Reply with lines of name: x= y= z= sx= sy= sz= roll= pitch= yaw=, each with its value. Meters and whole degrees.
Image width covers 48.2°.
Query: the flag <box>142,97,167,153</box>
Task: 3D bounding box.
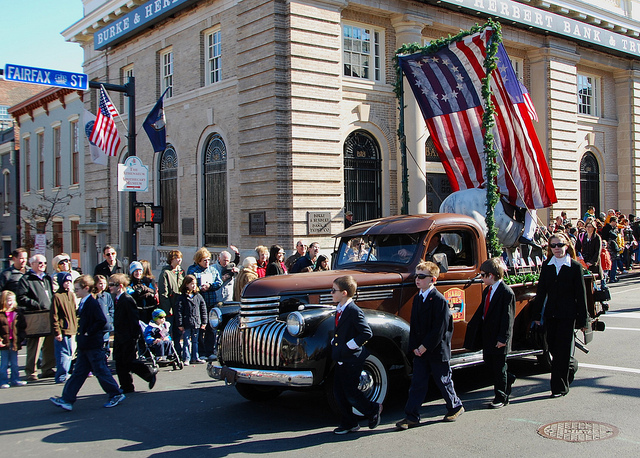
flag: x=-5.131 y=-3.301 z=22.396 sx=0.706 sy=1.902 sz=0.188 roll=-15 pitch=44 yaw=-24

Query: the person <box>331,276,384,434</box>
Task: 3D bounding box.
person: x=0.588 y=2.119 z=12.173 sx=0.754 sy=2.572 sz=0.552 roll=-2 pitch=10 yaw=0

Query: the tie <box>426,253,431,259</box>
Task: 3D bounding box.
tie: x=2.066 y=0.500 z=13.721 sx=0.104 sy=0.107 sz=0.026 roll=-3 pitch=4 yaw=-31

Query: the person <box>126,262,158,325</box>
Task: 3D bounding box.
person: x=-3.882 y=1.590 z=15.729 sx=0.612 sy=1.785 sz=0.570 roll=-10 pitch=7 yaw=-19

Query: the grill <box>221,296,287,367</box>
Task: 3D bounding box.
grill: x=-1.159 y=1.856 z=12.979 sx=1.355 sy=1.261 sz=0.540 roll=5 pitch=12 yaw=32

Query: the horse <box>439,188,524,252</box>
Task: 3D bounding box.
horse: x=3.426 y=-0.305 z=15.355 sx=2.622 sy=1.574 sz=0.890 roll=-5 pitch=7 yaw=-34

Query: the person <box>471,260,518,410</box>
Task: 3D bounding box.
person: x=3.116 y=1.897 z=13.042 sx=0.693 sy=2.607 sz=0.695 roll=4 pitch=11 yaw=31

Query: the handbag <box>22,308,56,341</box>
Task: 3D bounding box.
handbag: x=-6.088 y=1.951 z=15.451 sx=0.624 sy=0.777 sz=0.437 roll=-5 pitch=12 yaw=-42

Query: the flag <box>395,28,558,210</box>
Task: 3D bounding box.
flag: x=3.591 y=-2.484 z=16.177 sx=0.975 sy=3.908 sz=3.296 roll=-10 pitch=13 yaw=-40

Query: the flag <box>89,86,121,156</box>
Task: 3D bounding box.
flag: x=-6.618 y=-3.399 z=22.018 sx=0.692 sy=2.229 sz=0.694 roll=-6 pitch=5 yaw=-37

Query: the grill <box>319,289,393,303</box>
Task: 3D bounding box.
grill: x=0.693 y=1.223 z=13.119 sx=1.374 sy=0.213 sz=0.182 roll=-4 pitch=10 yaw=-12

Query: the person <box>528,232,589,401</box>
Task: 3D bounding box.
person: x=4.522 y=1.607 z=13.676 sx=1.039 sy=3.083 sz=1.453 roll=1 pitch=10 yaw=17

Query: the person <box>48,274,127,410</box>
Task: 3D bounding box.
person: x=-4.388 y=2.154 z=13.570 sx=1.199 sy=2.418 sz=1.044 roll=-9 pitch=12 yaw=-36
